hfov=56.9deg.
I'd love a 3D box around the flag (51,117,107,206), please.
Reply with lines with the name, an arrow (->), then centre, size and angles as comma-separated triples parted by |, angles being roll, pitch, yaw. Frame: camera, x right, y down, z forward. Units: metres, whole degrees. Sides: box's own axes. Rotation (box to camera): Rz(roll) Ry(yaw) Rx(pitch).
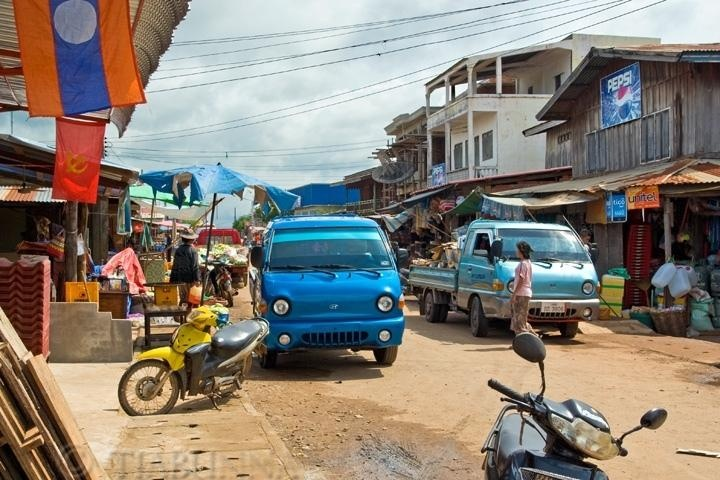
flag -> -4.587, -1.306, 10.882 | 0.723, 1.293, 0.446 | 1, -1, -26

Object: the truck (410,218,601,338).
truck -> 3.327, 0.881, 15.845 | 2.172, 2.126, 4.639 | 2, -5, -18

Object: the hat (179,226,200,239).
hat -> -3.906, -0.131, 15.203 | 0.413, 0.163, 0.442 | 5, 7, -12

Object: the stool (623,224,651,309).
stool -> 7.651, 0.690, 18.268 | 0.649, 2.270, 0.580 | 0, -1, 21

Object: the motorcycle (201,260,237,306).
motorcycle -> -4.198, 1.297, 19.910 | 0.616, 1.077, 1.930 | 1, 5, -32

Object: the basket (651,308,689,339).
basket -> 7.270, 1.906, 15.521 | 0.665, 0.511, 0.544 | -2, -2, 26

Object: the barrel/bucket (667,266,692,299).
barrel/bucket -> 7.399, 0.959, 15.341 | 0.499, 0.788, 0.293 | -19, -56, 36

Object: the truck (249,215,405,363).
truck -> -0.896, 0.700, 13.548 | 2.580, 2.646, 5.084 | -1, 6, -10

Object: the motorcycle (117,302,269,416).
motorcycle -> -2.218, 1.717, 9.681 | 0.936, 1.619, 2.905 | 11, 0, 27

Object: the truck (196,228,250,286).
truck -> -9.973, 0.895, 47.394 | 3.785, 3.837, 6.962 | -2, 14, -11
